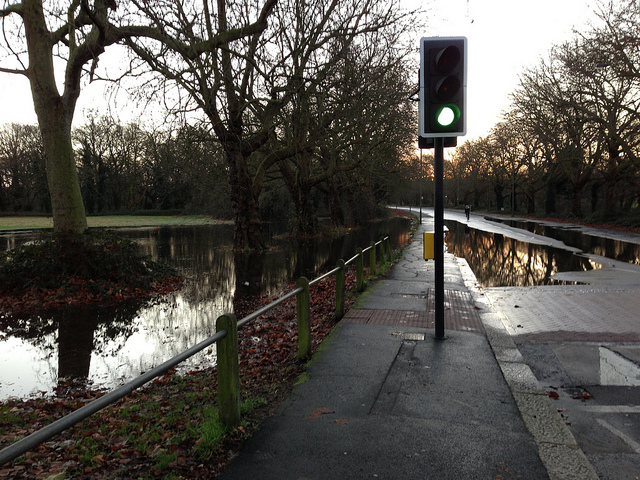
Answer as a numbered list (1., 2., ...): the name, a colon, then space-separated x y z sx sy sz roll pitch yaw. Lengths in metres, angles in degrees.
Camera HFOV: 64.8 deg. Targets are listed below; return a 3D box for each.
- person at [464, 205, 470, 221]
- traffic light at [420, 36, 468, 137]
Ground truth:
1. person: 15.581 -2.946 53.797 0.277 1.157 1.134 1 7 24
2. traffic light: 2.137 -2.468 8.527 0.756 1.716 0.795 0 2 -17
